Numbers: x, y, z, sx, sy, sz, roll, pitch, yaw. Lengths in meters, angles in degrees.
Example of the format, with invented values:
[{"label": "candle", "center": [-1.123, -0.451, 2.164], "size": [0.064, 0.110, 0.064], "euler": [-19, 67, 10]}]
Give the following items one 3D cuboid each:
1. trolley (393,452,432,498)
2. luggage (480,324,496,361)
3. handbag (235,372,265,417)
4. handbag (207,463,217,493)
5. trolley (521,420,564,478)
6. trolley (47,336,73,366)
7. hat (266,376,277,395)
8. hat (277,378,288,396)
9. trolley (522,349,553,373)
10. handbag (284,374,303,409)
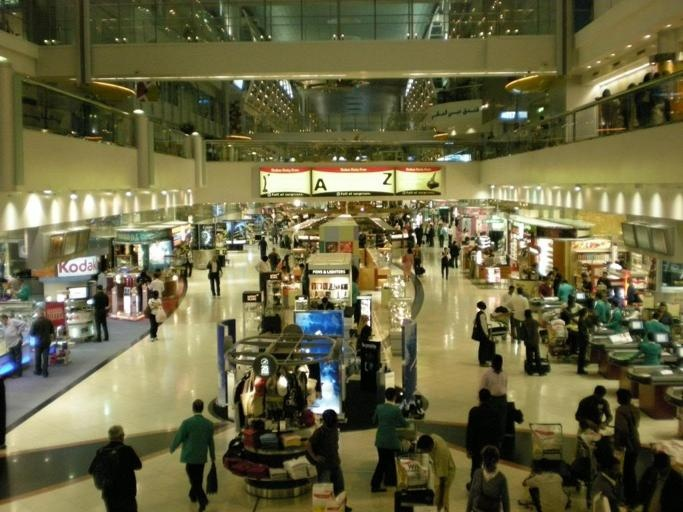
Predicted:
[{"label": "trolley", "center": [0.903, 2.785, 8.203], "size": [0.329, 0.506, 0.528], "euler": [0, 5, -3]}, {"label": "luggage", "center": [3.137, 1.836, 13.909], "size": [0.294, 0.960, 0.365], "euler": [4, -3, -10]}, {"label": "handbag", "center": [-1.262, 1.994, 9.141], "size": [0.423, 0.619, 0.218], "euler": [2, -3, 40]}, {"label": "handbag", "center": [-1.786, 3.023, 8.851], "size": [0.159, 0.509, 0.390], "euler": [-2, 3, -13]}, {"label": "trolley", "center": [3.031, 2.771, 9.452], "size": [0.478, 0.617, 0.354], "euler": [-5, -25, 17]}, {"label": "trolley", "center": [-6.423, 2.154, 14.492], "size": [0.415, 0.676, 0.622], "euler": [1, -8, -5]}, {"label": "hat", "center": [-0.970, 1.808, 8.946], "size": [0.159, 0.287, 0.098], "euler": [-1, 3, 1]}, {"label": "hat", "center": [-0.818, 1.799, 8.901], "size": [0.137, 0.290, 0.092], "euler": [1, 3, 32]}, {"label": "trolley", "center": [4.075, 2.211, 13.311], "size": [0.475, 0.304, 0.493], "euler": [1, 2, 9]}, {"label": "handbag", "center": [-0.662, 1.915, 9.090], "size": [0.315, 0.553, 0.077], "euler": [-2, 3, -26]}]
